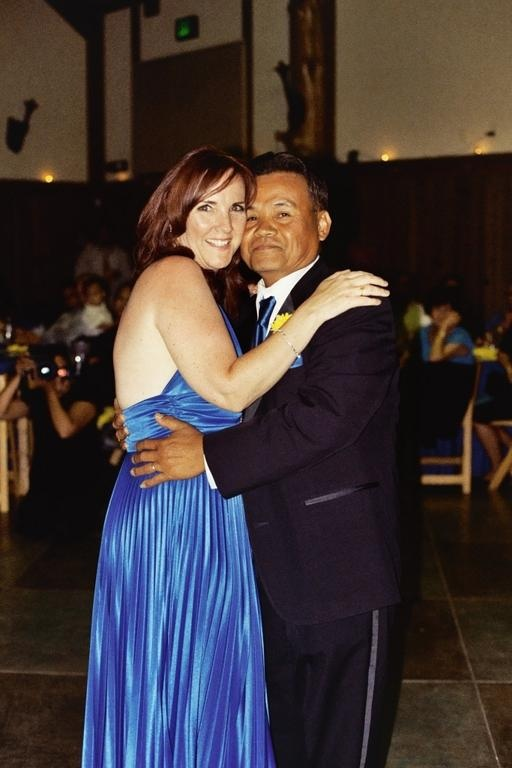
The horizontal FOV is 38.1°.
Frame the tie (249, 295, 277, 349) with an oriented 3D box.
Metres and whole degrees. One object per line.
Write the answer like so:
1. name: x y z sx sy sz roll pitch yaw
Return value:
1. tie: 0.020 -0.179 2.120 0.051 0.026 0.173 6 50 19
